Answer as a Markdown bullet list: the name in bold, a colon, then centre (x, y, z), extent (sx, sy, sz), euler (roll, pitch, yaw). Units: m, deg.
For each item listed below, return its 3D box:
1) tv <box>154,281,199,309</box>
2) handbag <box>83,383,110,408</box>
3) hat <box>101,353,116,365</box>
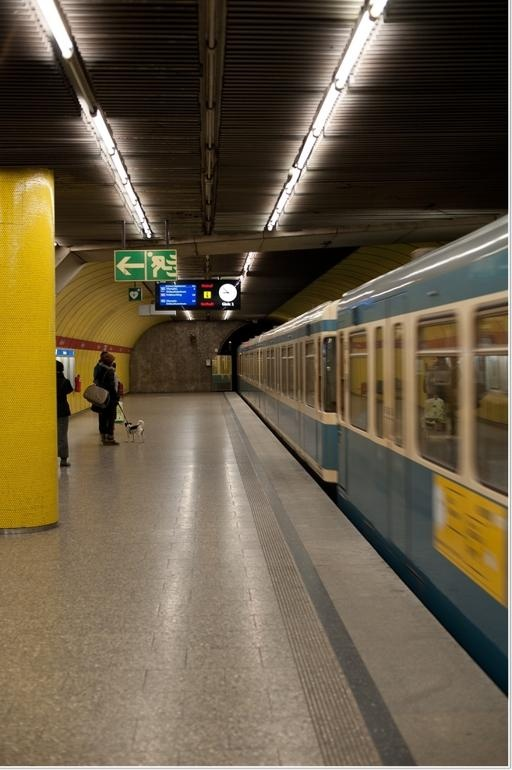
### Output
- **tv**: centre (-2.498, -2.821, 16.500), extent (0.923, 0.709, 0.124), euler (0, 0, -5)
- **handbag**: centre (-3.871, 0.236, 12.809), extent (0.494, 0.526, 0.539), euler (0, -4, -21)
- **hat**: centre (-3.763, -0.668, 13.437), extent (0.257, 0.335, 0.678), euler (0, -4, -11)
